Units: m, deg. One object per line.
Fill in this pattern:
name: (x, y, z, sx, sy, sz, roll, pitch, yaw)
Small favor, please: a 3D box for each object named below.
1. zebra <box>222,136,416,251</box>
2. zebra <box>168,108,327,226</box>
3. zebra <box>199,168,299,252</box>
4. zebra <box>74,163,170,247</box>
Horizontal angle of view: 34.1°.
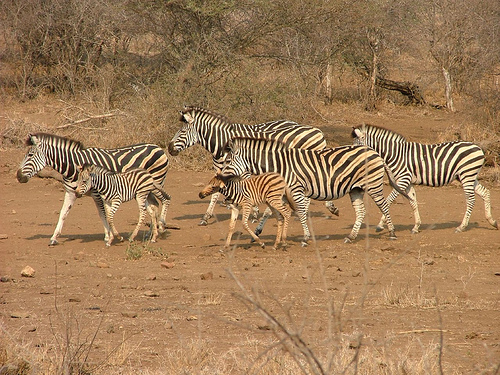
zebra: (1.488, 0.039, 18.154, 4.257, 2.750, 1.065, -5, 14, -4)
zebra: (0.133, -0.342, 20.075, 4.867, 3.410, 1.239, 0, 6, -20)
zebra: (0.070, 0.482, 17.159, 1.823, 1.560, 0.999, 1, 12, 3)
zebra: (-2.740, 0.359, 17.624, 2.357, 1.778, 0.549, -5, 4, -37)
